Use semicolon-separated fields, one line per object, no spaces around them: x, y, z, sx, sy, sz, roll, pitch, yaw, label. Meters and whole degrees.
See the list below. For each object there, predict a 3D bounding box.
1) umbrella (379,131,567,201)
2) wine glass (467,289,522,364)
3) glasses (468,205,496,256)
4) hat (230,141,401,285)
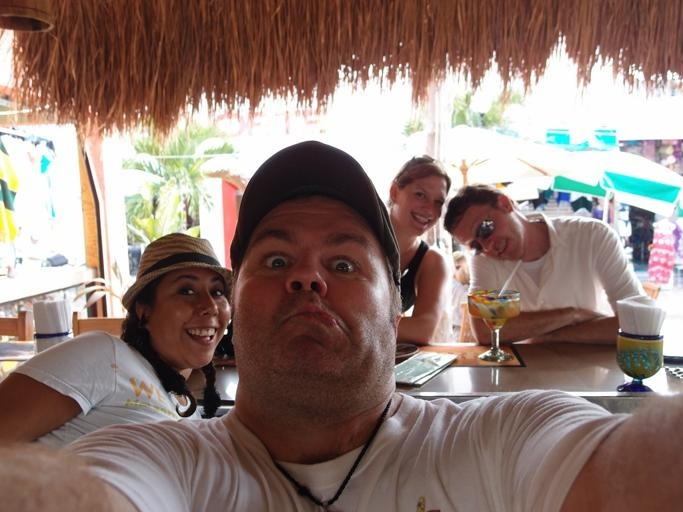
1.192;-0.746;4.686;1.152;0.449;1.195;7;7;23;umbrella
0.720;0.316;2.705;0.240;0.311;0.249;1;8;24;wine glass
0.785;-0.143;3.210;0.058;0.198;0.187;33;-33;-3;glasses
-0.081;-0.119;1.780;0.487;0.363;0.675;2;-24;-12;hat
